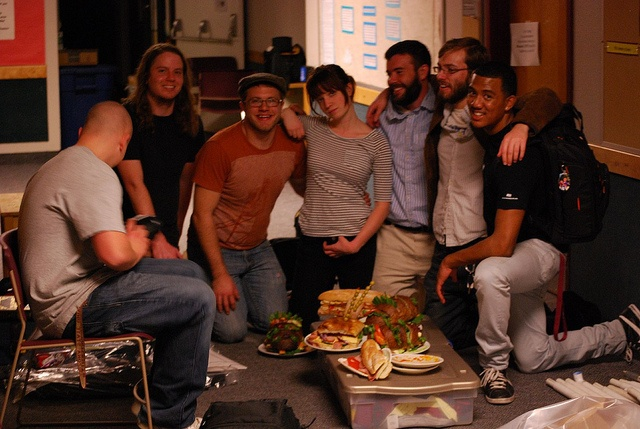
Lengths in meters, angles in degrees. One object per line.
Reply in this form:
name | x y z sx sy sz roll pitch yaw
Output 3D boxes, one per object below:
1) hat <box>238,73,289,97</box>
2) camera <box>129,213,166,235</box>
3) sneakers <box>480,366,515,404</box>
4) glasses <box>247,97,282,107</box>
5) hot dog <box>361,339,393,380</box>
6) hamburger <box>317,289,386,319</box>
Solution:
hat | -0.387 -0.868 3.651 0.306 0.158 0.189 -4 14 -10
camera | -0.939 0.051 2.956 0.123 0.047 0.120 5 7 6
sneakers | 0.998 0.962 3.057 0.119 0.091 0.236 -3 0 2
glasses | -0.366 -0.740 3.582 0.243 0.061 0.069 -3 13 -6
hot dog | 0.283 0.735 2.780 0.104 0.067 0.184 -27 27 -9
hamburger | 0.163 0.561 3.443 0.340 0.113 0.213 2 7 11
